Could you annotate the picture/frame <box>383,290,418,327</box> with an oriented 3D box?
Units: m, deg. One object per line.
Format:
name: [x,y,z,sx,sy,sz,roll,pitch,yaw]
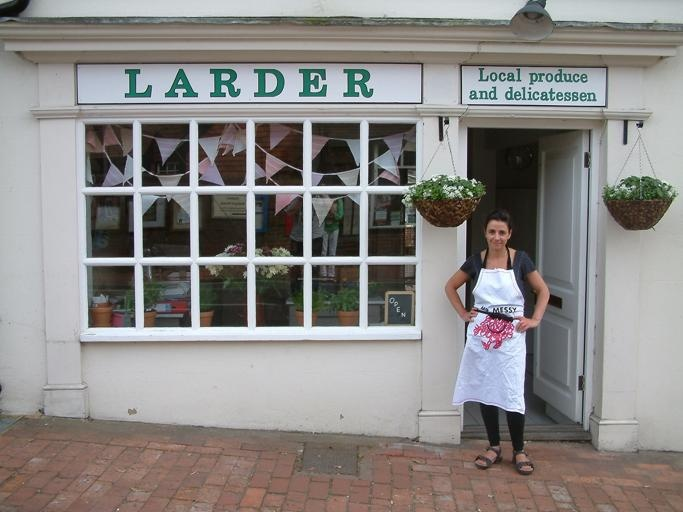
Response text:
picture/frame: [0.581,0.511,6.668,0.352,0.368,0.032,2,0,0]

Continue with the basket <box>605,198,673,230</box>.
basket: [2.777,-0.395,6.481,0.634,0.271,0.606,0,1,-29]

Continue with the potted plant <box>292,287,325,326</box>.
potted plant: [-0.323,0.500,6.708,0.323,0.235,0.326,1,2,29]

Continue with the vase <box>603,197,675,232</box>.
vase: [2.751,-0.391,6.488,0.636,0.271,0.616,8,-1,15]

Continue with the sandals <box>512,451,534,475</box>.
sandals: [1.615,1.850,6.139,0.102,0.107,0.258,-1,-2,1]

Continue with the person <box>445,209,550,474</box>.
person: [1.392,0.763,6.225,0.871,2.330,0.481,-2,5,4]

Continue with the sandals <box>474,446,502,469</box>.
sandals: [1.315,1.812,6.218,0.304,0.125,0.113,3,-7,-44]

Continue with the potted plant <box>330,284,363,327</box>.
potted plant: [0.049,0.472,6.720,0.343,0.369,0.362,2,-4,-17]

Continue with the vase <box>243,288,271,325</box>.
vase: [-0.799,0.517,6.710,0.270,0.371,0.289,-5,-7,18]

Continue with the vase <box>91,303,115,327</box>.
vase: [-2.328,0.571,6.714,0.223,0.194,0.209,6,-9,-32]

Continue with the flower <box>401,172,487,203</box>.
flower: [0.908,-0.611,6.190,0.701,0.251,0.320,-2,5,4]
